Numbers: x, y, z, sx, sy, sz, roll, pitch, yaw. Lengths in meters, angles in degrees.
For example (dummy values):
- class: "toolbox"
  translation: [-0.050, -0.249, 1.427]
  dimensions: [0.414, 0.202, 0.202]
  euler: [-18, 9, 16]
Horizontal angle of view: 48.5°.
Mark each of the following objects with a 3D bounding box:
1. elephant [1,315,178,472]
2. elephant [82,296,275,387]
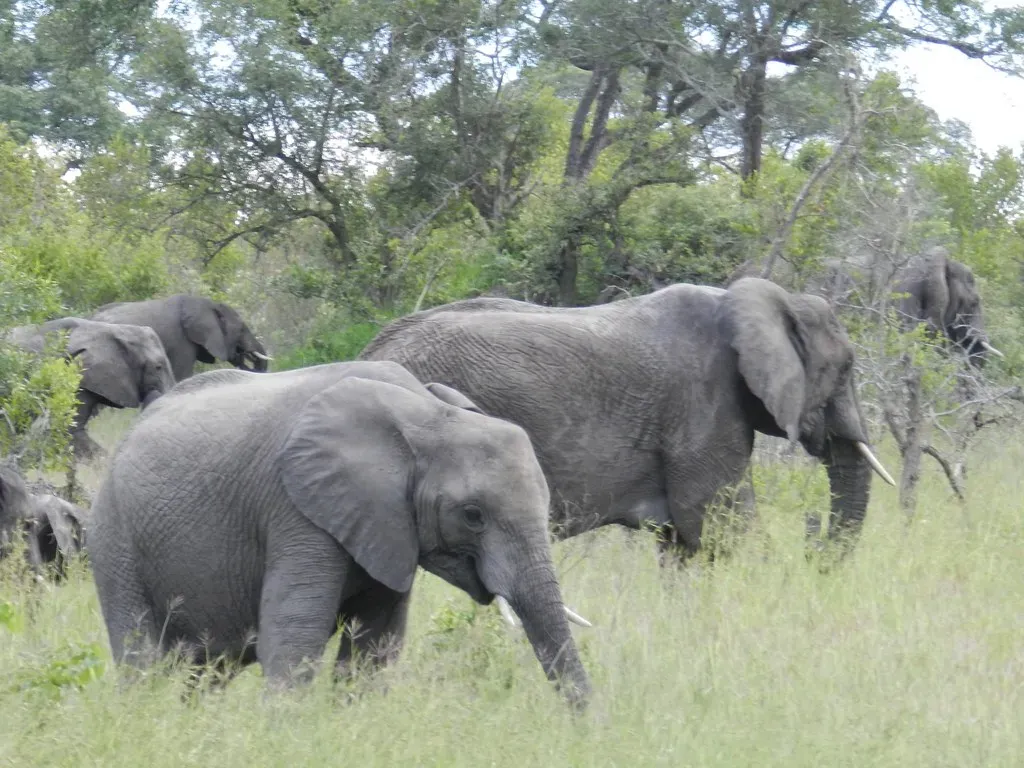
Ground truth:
- class: "elephant"
  translation: [-4.757, -0.122, 13.613]
  dimensions: [2.614, 1.348, 1.195]
  euler: [-3, 7, -34]
- class: "elephant"
  translation: [-4.962, -0.757, 17.389]
  dimensions: [2.497, 1.250, 1.010]
  euler: [-3, 9, -23]
